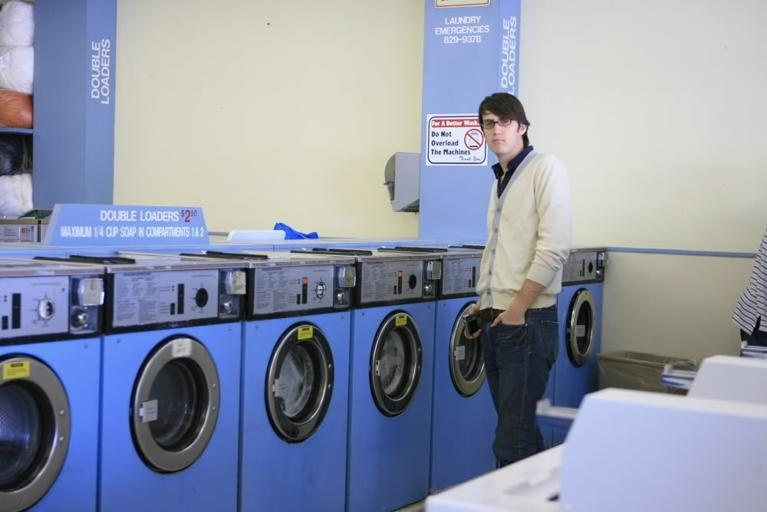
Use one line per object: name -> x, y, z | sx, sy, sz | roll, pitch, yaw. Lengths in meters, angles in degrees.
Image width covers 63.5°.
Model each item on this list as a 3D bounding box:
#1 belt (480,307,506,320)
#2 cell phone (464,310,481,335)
belt -> 0.479, 0.259, 2.781 | 0.066, 0.039, 0.051 | -7, -9, 40
cell phone -> 0.423, 0.311, 2.986 | 0.082, 0.171, 0.093 | -3, 3, 7
